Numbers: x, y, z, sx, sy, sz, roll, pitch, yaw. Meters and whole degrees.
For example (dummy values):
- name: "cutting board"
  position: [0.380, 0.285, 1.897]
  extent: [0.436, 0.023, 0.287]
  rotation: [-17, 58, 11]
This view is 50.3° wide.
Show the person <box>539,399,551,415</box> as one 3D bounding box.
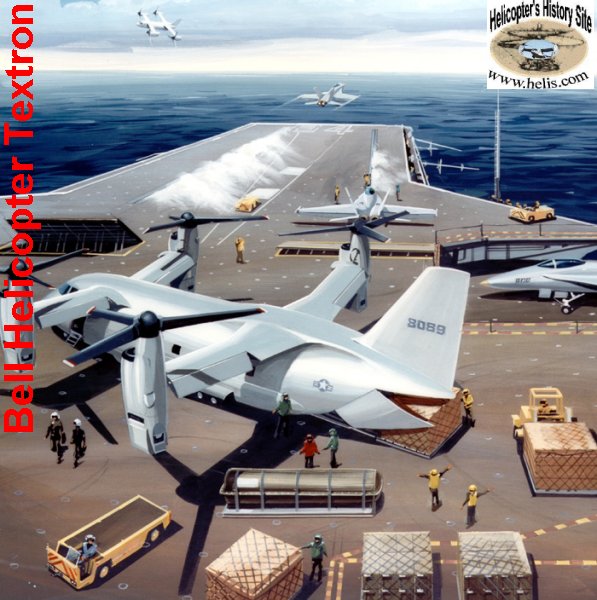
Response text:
- name: "person"
  position: [11.638, 5.071, 30.039]
  extent: [0.579, 0.702, 0.451]
  rotation: [0, 13, 20]
